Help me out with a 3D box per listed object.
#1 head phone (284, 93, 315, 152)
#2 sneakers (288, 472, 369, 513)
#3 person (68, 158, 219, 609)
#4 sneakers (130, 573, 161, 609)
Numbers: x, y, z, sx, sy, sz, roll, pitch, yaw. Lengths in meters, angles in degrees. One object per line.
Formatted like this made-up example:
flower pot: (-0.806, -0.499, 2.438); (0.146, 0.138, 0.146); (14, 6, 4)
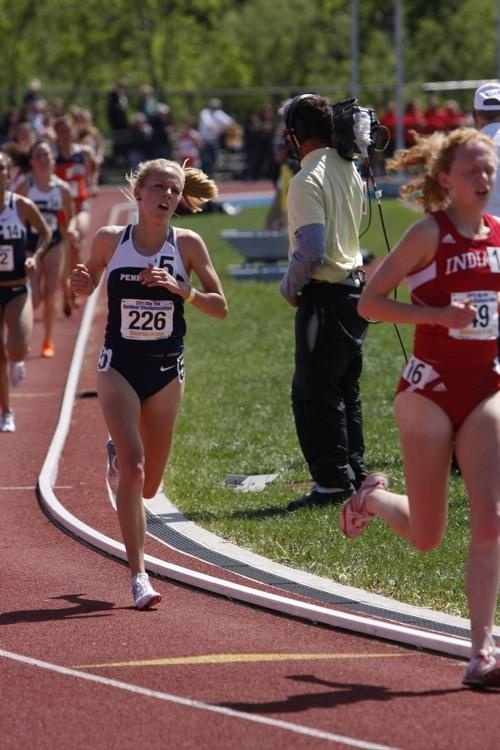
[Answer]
head phone: (0.200, -1.360, 4.857); (0.078, 0.270, 0.244); (28, 36, 32)
sneakers: (0.402, 0.663, 5.019); (0.604, 0.224, 0.188); (-3, -3, 3)
person: (-0.491, 0.009, 3.970); (0.596, 1.905, 0.780); (0, 10, 13)
sneakers: (-0.444, 0.897, 3.743); (0.084, 0.100, 0.215); (-8, -14, -18)
